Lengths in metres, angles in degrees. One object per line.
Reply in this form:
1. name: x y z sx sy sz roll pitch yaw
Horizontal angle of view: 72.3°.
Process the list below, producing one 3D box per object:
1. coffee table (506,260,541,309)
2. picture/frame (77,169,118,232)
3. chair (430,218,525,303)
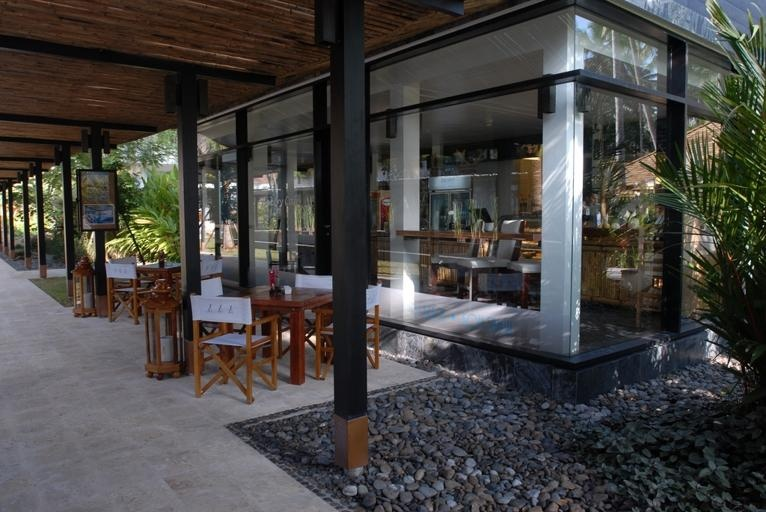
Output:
1. coffee table: 1.701 0.302 6.183 0.459 0.602 0.431 -5 8 -28
2. picture/frame: -5.404 -1.060 9.949 0.681 1.141 0.367 -6 12 -29
3. chair: 1.334 0.048 6.790 0.880 1.401 0.999 1 2 -22
